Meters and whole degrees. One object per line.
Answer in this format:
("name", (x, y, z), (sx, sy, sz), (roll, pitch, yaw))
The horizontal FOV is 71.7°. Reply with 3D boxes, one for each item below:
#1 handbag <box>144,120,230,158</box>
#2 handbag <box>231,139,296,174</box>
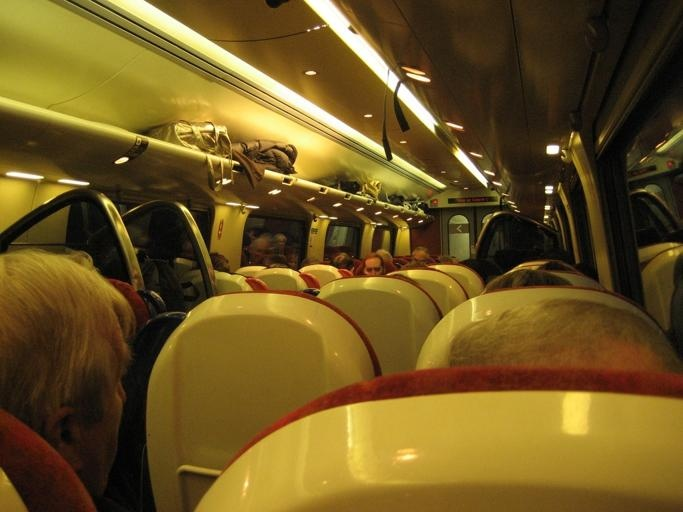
("handbag", (-1.677, -1.397, 5.481), (0.439, 0.186, 0.594), (4, -5, 42))
("handbag", (-1.056, -1.512, 6.910), (0.621, 0.219, 0.475), (14, 1, -38))
